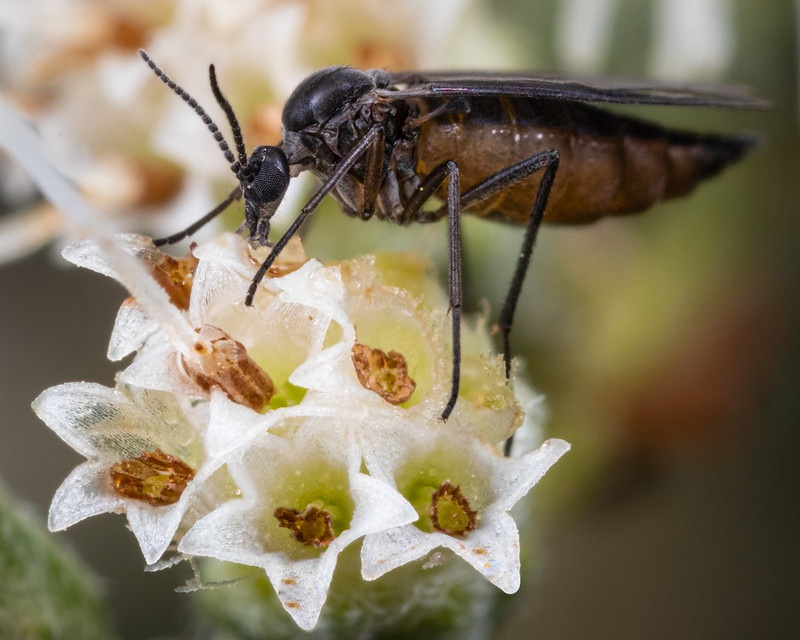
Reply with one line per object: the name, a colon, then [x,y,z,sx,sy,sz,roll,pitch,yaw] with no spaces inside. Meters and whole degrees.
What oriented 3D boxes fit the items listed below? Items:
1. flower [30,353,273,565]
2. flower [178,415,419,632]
flower: [-0.233,0.134,1.009,0.172,0.076,0.177,37,87,23]
flower: [-0.090,0.184,0.905,0.179,0.107,0.137,-31,47,-21]
